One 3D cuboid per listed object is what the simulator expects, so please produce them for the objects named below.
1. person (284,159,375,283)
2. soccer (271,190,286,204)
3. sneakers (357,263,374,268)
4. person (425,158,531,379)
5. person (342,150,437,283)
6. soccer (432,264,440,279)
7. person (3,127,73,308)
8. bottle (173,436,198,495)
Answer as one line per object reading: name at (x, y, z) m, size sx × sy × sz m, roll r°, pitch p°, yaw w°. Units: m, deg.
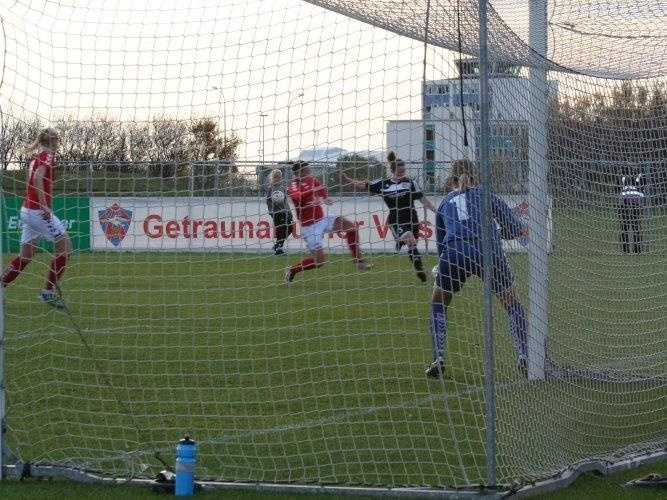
person at (-0.041, -0.272, 10.543) m, size 0.767 × 0.286 × 1.048 m, roll -9°, pitch -37°, yaw 11°
soccer at (-0.450, -0.452, 9.439) m, size 0.099 × 0.070 × 0.095 m, roll -2°, pitch -1°, yaw 33°
sneakers at (0.369, 0.160, 12.487) m, size 0.191 × 0.089 × 0.068 m, roll 0°, pitch 7°, yaw 28°
person at (1.034, 0.173, 8.113) m, size 0.754 × 1.439 × 1.616 m, roll -3°, pitch 0°, yaw 4°
person at (0.529, -0.277, 9.189) m, size 0.600 × 1.063 × 0.852 m, roll -15°, pitch 10°, yaw -21°
soccer at (0.811, 0.167, 8.880) m, size 0.051 × 0.078 × 0.163 m, roll -1°, pitch -3°, yaw 4°
person at (-2.406, -0.102, 9.159) m, size 0.579 × 1.021 × 2.302 m, roll -3°, pitch 0°, yaw -13°
bottle at (-0.925, 1.349, 7.088) m, size 0.132 × 0.289 × 0.153 m, roll -3°, pitch -1°, yaw -9°
